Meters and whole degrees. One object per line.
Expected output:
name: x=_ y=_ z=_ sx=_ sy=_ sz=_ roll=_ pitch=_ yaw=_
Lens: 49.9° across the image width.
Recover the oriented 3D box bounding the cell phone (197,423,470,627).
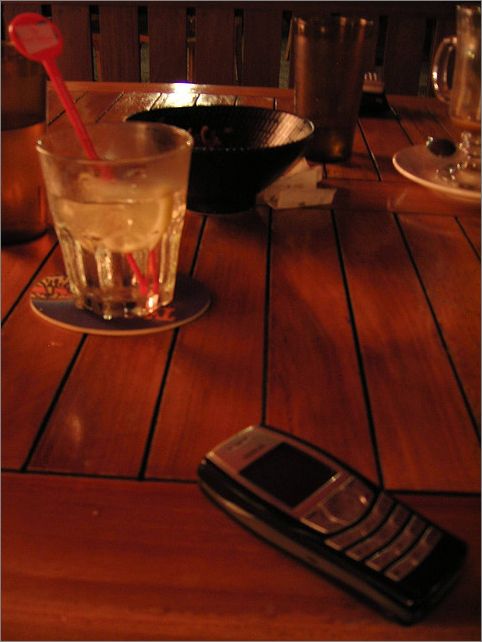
cell phone: x=0.045 y=0.089 z=0.243 sx=0.108 sy=0.022 sz=0.053 roll=31 pitch=46 yaw=33

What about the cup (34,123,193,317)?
cup: x=-0.107 y=-0.057 z=0.428 sx=0.091 sy=0.110 sz=0.094 roll=-3 pitch=-5 yaw=0

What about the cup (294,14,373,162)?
cup: x=0.139 y=-0.386 z=0.856 sx=0.132 sy=0.221 sz=0.138 roll=1 pitch=27 yaw=-1
